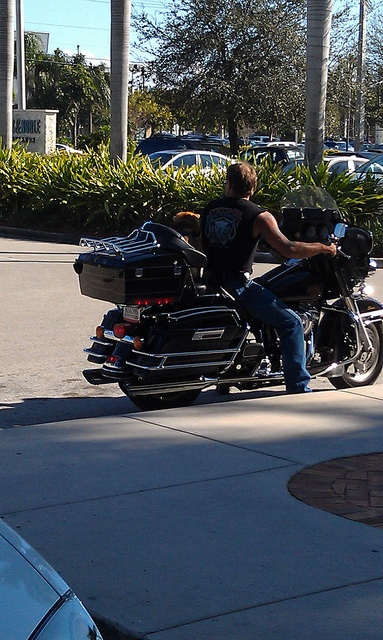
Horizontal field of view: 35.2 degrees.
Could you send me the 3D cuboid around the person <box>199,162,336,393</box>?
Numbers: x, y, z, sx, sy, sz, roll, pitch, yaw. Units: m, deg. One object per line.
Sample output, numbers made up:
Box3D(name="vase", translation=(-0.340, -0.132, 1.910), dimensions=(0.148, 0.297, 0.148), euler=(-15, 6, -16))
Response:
Box3D(name="person", translation=(0.571, -0.169, 4.988), dimensions=(1.004, 1.666, 0.434), euler=(0, 6, -1))
